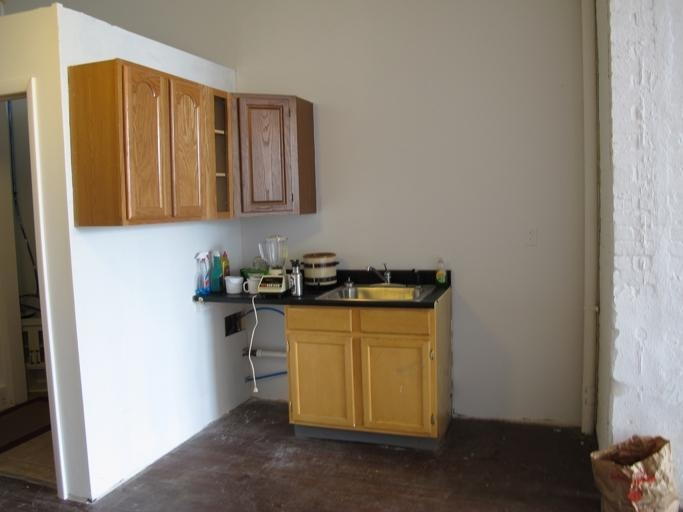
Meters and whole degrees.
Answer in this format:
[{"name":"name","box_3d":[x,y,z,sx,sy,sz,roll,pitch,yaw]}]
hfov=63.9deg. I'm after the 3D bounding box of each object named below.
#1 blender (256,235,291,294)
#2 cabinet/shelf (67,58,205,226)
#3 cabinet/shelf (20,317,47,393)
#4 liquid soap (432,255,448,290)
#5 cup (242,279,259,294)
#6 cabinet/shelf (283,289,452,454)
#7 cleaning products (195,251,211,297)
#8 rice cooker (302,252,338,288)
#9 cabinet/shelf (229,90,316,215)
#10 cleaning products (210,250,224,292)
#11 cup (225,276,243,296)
[{"name":"blender","box_3d":[-0.521,0.081,4.449,0.260,0.500,0.290,0,-2,16]},{"name":"cabinet/shelf","box_3d":[-1.334,-0.744,3.772,0.365,1.006,1.012,3,8,17]},{"name":"cabinet/shelf","box_3d":[-2.707,0.883,4.808,0.167,0.680,0.179,-7,14,-23]},{"name":"liquid soap","box_3d":[0.775,0.114,4.241,0.094,0.198,0.135,1,14,11]},{"name":"cup","box_3d":[-0.699,0.233,4.262,0.134,0.139,0.095,0,6,-3]},{"name":"cabinet/shelf","box_3d":[0.171,0.773,4.163,1.095,1.064,0.641,0,12,12]},{"name":"cleaning products","box_3d":[-1.093,0.119,4.317,0.078,0.323,0.201,1,14,11]},{"name":"rice cooker","box_3d":[-0.187,0.108,4.402,0.253,0.243,0.241,-2,1,-34]},{"name":"cabinet/shelf","box_3d":[-0.519,-0.795,4.311,0.706,0.951,0.312,-6,14,-16]},{"name":"cleaning products","box_3d":[-1.010,0.120,4.389,0.093,0.305,0.155,-2,14,0]},{"name":"cup","box_3d":[-0.851,0.223,4.283,0.150,0.135,0.114,-2,14,0]}]
